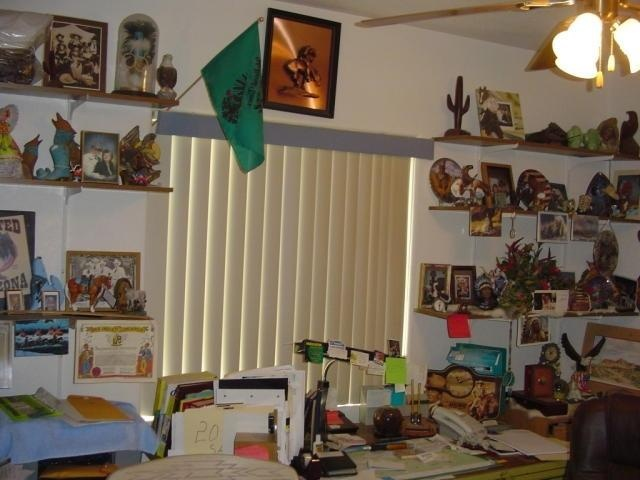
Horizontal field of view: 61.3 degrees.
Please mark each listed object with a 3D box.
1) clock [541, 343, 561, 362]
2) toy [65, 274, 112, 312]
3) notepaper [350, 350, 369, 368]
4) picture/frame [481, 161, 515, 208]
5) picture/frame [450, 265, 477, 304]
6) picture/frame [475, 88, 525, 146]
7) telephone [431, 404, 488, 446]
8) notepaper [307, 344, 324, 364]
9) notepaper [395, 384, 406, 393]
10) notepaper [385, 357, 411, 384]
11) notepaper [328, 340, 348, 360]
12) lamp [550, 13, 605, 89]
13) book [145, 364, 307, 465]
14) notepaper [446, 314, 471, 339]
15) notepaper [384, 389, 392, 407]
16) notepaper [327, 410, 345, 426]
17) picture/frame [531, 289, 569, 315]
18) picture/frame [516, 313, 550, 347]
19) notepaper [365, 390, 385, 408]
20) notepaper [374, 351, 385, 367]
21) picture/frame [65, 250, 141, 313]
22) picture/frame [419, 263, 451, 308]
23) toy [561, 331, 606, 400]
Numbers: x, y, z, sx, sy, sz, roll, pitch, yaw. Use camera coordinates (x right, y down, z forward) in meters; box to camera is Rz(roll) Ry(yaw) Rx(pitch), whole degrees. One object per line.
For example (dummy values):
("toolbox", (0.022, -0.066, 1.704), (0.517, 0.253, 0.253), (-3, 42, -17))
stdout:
("clock", (1.522, 0.738, 3.571), (0.161, 0.126, 0.045), (2, -2, -23))
("toy", (-1.153, 0.247, 2.674), (0.233, 0.195, 0.080), (6, 5, -7))
("notepaper", (0.215, 0.637, 2.929), (0.089, 0.068, 0.014), (6, -12, -7))
("picture/frame", (1.170, -0.362, 3.564), (0.313, 0.429, 0.058), (-1, -6, -29))
("picture/frame", (0.923, 0.291, 3.493), (0.232, 0.314, 0.042), (1, -4, -8))
("picture/frame", (1.176, -0.807, 3.557), (0.392, 0.404, 0.042), (6, -17, -28))
("telephone", (0.799, 1.056, 3.108), (0.169, 0.076, 0.208), (10, 3, -35))
("notepaper", (-0.024, 0.602, 2.875), (0.090, 0.092, 0.022), (6, -5, -6))
("notepaper", (0.463, 0.842, 3.093), (0.059, 0.052, 0.050), (2, -2, -15))
("notepaper", (0.419, 0.732, 3.066), (0.144, 0.145, 0.035), (3, -2, -5))
("notepaper", (0.097, 0.593, 2.913), (0.109, 0.093, 0.032), (1, -2, 0))
("lamp", (0.931, -0.674, 1.898), (0.199, 0.219, 0.113), (1, -2, -7))
("book", (-0.366, 0.757, 2.393), (0.555, 0.442, 0.206), (2, -2, -15))
("notepaper", (0.869, 0.534, 3.402), (0.134, 0.169, 0.175), (1, -2, 9))
("notepaper", (0.400, 0.918, 3.177), (0.051, 0.085, 0.019), (1, -2, 7))
("notepaper", (0.091, 1.013, 3.126), (0.098, 0.058, 0.166), (1, -2, 1))
("picture/frame", (1.510, 0.402, 3.535), (0.295, 0.161, 0.031), (2, -2, -23))
("picture/frame", (1.411, 0.582, 3.541), (0.012, 0.197, 0.282), (10, -14, -17))
("notepaper", (0.331, 0.920, 3.165), (0.119, 0.101, 0.024), (2, -2, -19))
("notepaper", (0.328, 0.649, 2.968), (0.068, 0.071, 0.021), (19, -30, -23))
("picture/frame", (-1.107, 0.210, 2.717), (0.305, 0.269, 0.022), (1, -18, -23))
("picture/frame", (0.738, 0.293, 3.459), (0.262, 0.360, 0.037), (2, -4, -16))
("toy", (1.820, 0.870, 3.711), (0.357, 0.525, 0.181), (4, -7, -18))
